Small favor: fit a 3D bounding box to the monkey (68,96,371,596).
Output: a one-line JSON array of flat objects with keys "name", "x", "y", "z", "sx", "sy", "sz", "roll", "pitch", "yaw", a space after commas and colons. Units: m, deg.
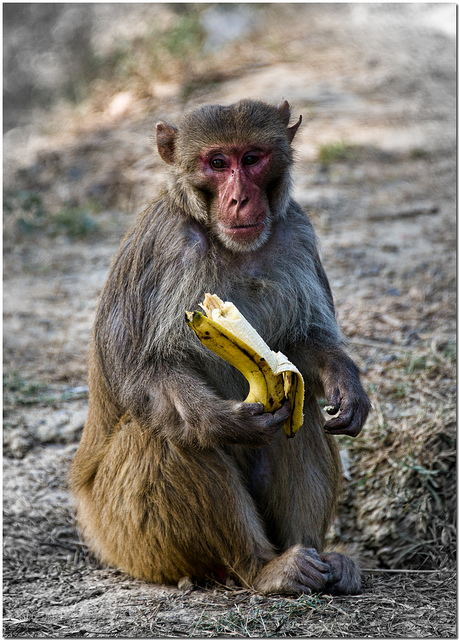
[{"name": "monkey", "x": 0.405, "y": 0.107, "z": 4.729, "sx": 1.819, "sy": 2.555, "sz": 2.004, "roll": -4, "pitch": 17, "yaw": -20}]
